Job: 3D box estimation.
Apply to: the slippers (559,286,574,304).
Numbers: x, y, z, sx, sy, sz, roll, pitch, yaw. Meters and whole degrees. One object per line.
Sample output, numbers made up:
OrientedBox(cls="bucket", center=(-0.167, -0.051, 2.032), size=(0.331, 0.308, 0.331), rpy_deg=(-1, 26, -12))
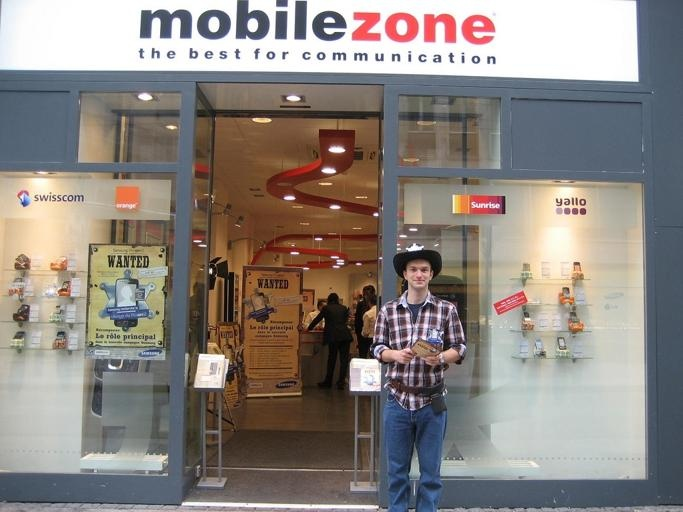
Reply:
OrientedBox(cls="slippers", center=(2.172, 0.371, 6.133), size=(0.114, 0.156, 0.056), rpy_deg=(-1, 1, -1))

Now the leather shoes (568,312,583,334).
OrientedBox(cls="leather shoes", center=(2.260, 0.641, 6.177), size=(0.137, 0.192, 0.066), rpy_deg=(1, -34, 4))
